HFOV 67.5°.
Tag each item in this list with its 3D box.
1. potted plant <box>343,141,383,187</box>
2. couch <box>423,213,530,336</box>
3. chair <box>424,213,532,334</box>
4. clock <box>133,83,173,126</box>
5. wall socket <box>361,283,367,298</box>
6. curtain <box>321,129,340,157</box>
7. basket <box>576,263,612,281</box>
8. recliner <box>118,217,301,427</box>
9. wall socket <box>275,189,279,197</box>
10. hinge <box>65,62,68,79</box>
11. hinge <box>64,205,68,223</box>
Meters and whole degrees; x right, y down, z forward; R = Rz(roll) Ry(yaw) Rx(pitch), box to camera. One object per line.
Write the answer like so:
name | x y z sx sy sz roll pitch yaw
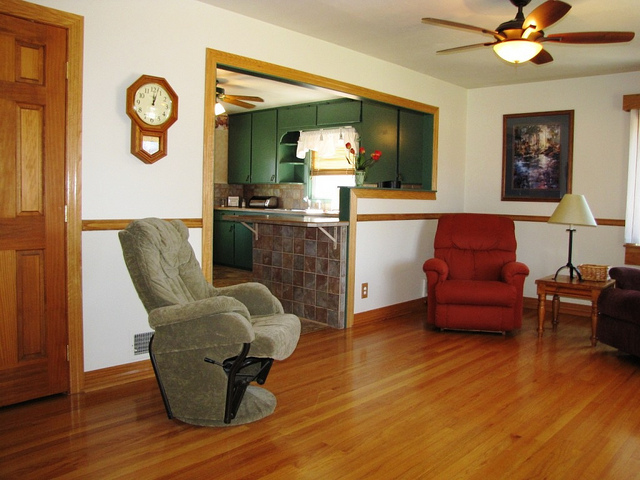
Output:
potted plant | 0.445 -0.797 5.292 0.406 0.388 0.456 10 3 42
couch | 1.663 0.324 5.122 1.067 1.075 1.162 2 9 20
chair | 1.640 0.306 5.086 1.094 1.060 1.163 -2 10 -1
clock | -1.247 -1.006 3.519 0.367 0.338 0.053 -6 6 -43
wall socket | 0.475 0.538 5.134 0.018 0.165 0.093 10 13 38
curtain | 0.155 -1.499 7.228 0.440 0.402 0.068 0 -4 43
basket | 2.794 0.320 4.785 0.273 0.109 0.215 3 -4 -40
recliner | -0.711 0.517 3.212 1.244 1.153 0.952 4 3 8
wall socket | -0.747 -0.818 8.258 0.099 0.129 0.013 8 12 35
hinge | -1.700 -1.140 3.197 0.017 0.099 0.014 0 10 -7
hinge | -1.727 -0.178 3.244 0.021 0.106 0.017 0 10 -7
